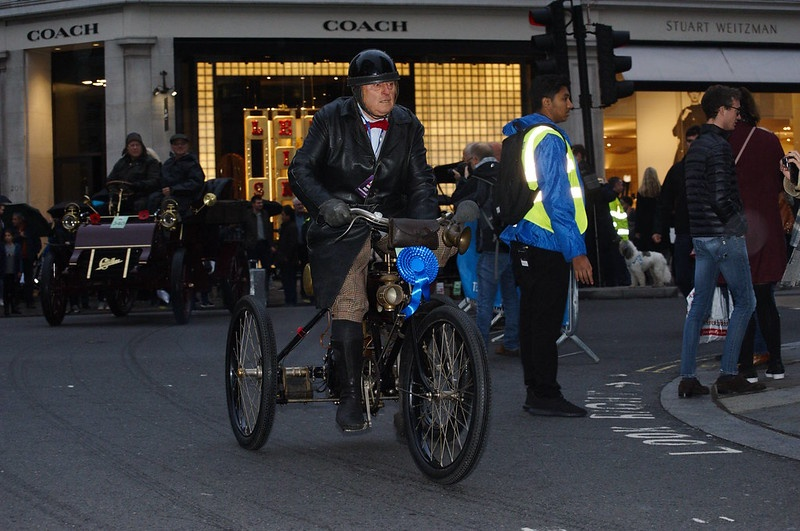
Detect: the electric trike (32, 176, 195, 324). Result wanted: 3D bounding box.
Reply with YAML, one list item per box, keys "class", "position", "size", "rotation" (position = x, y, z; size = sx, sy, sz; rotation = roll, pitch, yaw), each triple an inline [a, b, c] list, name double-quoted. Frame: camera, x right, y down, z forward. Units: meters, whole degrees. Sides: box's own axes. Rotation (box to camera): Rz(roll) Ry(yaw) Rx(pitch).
- class: "electric trike"
  position: [-4.707, -0.313, 17.490]
  size: [1.251, 1.983, 2.947]
  rotation: [1, 3, 26]

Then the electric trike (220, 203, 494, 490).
- class: "electric trike"
  position: [-0.162, 0.681, 10.344]
  size: [2.069, 2.088, 3.424]
  rotation: [1, 1, -32]

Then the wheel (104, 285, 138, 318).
- class: "wheel"
  position: [-4.503, 0.564, 18.525]
  size: [0.163, 0.443, 0.450]
  rotation: [-7, -18, 12]

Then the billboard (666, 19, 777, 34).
- class: "billboard"
  position: [7.399, -5.390, 26.334]
  size: [2.322, 0.296, 0.256]
  rotation: [-1, 8, -11]

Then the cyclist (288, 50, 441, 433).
- class: "cyclist"
  position: [-0.383, -0.226, 10.149]
  size: [1.435, 3.105, 1.381]
  rotation: [0, 3, -4]

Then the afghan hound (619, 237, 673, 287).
- class: "afghan hound"
  position: [4.547, -0.017, 21.359]
  size: [1.056, 0.823, 0.359]
  rotation: [1, -6, -10]
